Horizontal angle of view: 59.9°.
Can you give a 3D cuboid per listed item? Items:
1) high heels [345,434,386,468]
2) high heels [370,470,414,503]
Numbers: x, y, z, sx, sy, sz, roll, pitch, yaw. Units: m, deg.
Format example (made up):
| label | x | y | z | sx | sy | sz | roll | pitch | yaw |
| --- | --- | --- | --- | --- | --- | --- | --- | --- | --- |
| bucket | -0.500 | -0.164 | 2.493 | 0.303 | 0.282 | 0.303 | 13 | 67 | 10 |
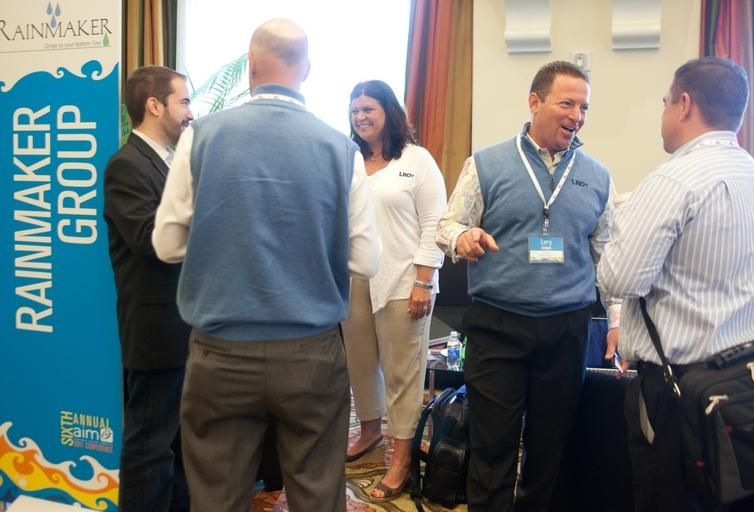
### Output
| label | x | y | z | sx | sy | sz | roll | pitch | yaw |
| --- | --- | --- | --- | --- | --- | --- | --- | --- | --- |
| high heels | -0.064 | 1.172 | 3.969 | 0.121 | 0.118 | 0.339 | -14 | -4 | 22 |
| high heels | 0.094 | 1.290 | 3.597 | 0.098 | 0.105 | 0.273 | -7 | -13 | 39 |
